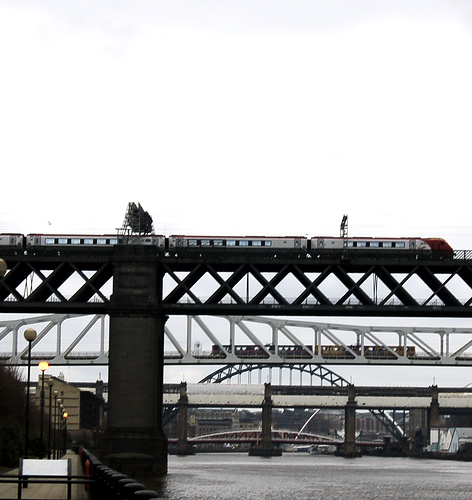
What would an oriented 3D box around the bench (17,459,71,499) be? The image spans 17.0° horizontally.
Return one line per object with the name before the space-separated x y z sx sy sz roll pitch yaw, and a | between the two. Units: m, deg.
bench | -11.626 13.928 95.608 2.298 1.882 1.601 1 -11 -4
